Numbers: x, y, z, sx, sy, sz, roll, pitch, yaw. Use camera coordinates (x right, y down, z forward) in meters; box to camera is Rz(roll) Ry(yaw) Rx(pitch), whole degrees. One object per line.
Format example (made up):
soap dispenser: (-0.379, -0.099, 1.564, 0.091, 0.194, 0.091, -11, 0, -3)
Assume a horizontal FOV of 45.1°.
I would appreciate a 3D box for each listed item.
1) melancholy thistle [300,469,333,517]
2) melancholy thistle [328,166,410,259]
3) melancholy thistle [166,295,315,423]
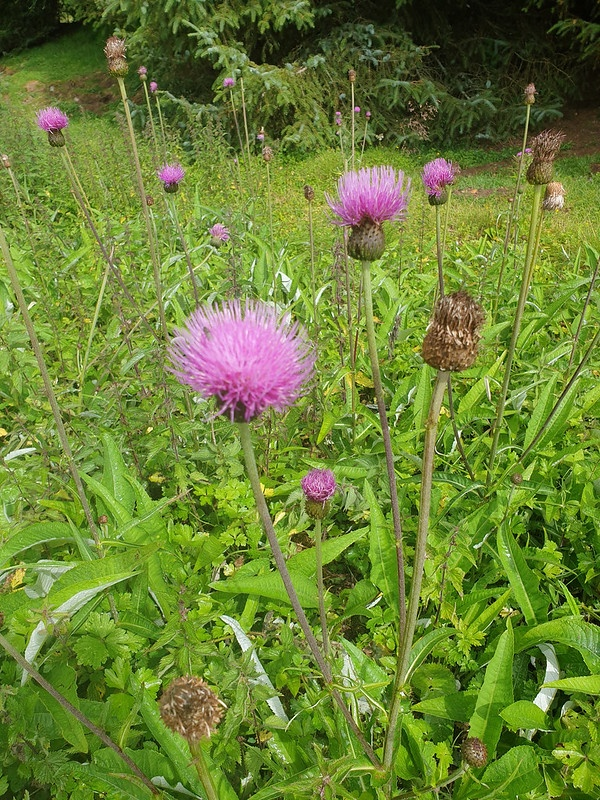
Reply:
melancholy thistle: (0.047, 0.236, 1.794, 0.078, 0.132, 0.111, -6, 32, -4)
melancholy thistle: (0.175, -0.472, 1.874, 0.215, 0.214, 0.208, 7, 16, 35)
melancholy thistle: (-0.170, -0.074, 1.578, 0.275, 0.283, 0.245, 25, 38, -32)
